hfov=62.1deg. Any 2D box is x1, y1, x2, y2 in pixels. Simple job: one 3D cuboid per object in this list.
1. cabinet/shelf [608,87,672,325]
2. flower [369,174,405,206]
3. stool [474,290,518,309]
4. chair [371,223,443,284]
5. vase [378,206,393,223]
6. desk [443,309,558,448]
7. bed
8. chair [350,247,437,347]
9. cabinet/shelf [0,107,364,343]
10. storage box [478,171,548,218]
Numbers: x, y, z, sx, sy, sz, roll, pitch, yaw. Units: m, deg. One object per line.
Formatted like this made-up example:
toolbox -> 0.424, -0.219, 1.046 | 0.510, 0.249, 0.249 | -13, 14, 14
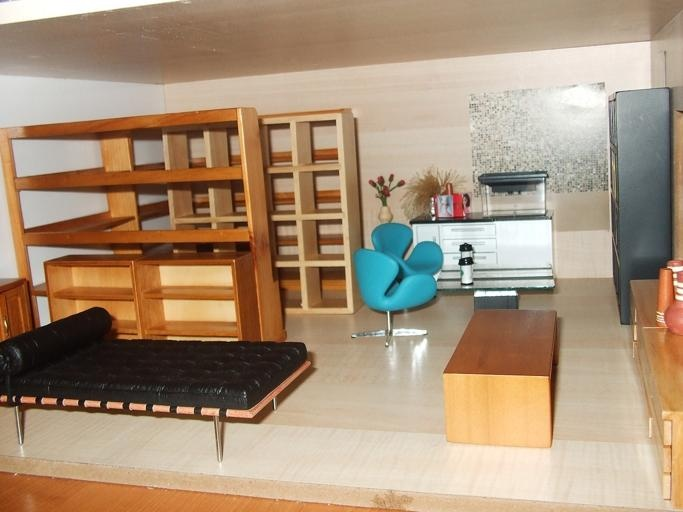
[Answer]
cabinet/shelf -> 3.323, -0.425, 5.286 | 0.519, 2.218, 0.217 | -3, 10, 25
flower -> 0.644, -0.844, 7.552 | 0.634, 0.446, 0.565 | 2, 5, 8
stool -> 1.770, 0.435, 5.539 | 0.407, 0.167, 0.316 | 0, 2, 11
chair -> 0.812, -0.003, 6.423 | 0.872, 0.532, 0.830 | 21, 26, 36
vase -> 0.640, -0.533, 7.331 | 0.301, 0.210, 0.240 | -1, -2, 13
desk -> 1.492, 0.796, 4.333 | 0.893, 0.397, 1.717 | -2, 11, 24
bed -> -1.512, 1.019, 4.169 | 2.183, 0.596, 0.929 | -2, 7, 13
chair -> 0.568, 0.424, 5.704 | 0.971, 0.704, 0.778 | 2, -9, -21
cabinet/shelf -> -2.234, -0.231, 6.372 | 4.441, 2.026, 3.290 | 0, 9, 6
storage box -> 2.366, -0.799, 7.454 | 1.407, 0.610, 0.772 | -4, 2, -31
